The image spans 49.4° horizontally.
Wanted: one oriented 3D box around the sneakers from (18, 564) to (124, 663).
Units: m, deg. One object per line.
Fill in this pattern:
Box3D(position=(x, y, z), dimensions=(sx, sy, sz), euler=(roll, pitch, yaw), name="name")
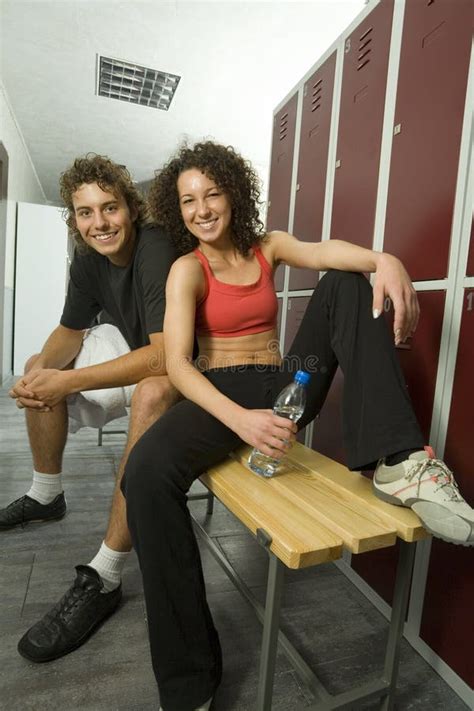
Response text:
Box3D(position=(-0.386, 0.579, 1.243), dimensions=(0.098, 0.124, 0.273), euler=(30, 16, 19), name="sneakers")
